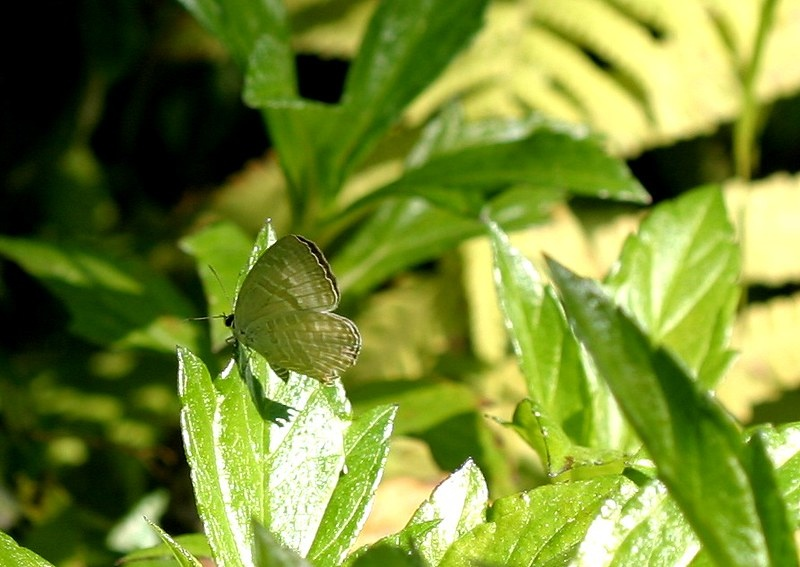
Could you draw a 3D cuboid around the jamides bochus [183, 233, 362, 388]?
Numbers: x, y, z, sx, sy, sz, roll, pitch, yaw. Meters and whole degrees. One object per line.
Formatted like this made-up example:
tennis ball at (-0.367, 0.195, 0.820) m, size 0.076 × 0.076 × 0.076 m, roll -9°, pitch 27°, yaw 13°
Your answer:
jamides bochus at (-0.148, 0.047, 1.267) m, size 0.155 × 0.142 × 0.171 m, roll 11°, pitch 0°, yaw -4°
